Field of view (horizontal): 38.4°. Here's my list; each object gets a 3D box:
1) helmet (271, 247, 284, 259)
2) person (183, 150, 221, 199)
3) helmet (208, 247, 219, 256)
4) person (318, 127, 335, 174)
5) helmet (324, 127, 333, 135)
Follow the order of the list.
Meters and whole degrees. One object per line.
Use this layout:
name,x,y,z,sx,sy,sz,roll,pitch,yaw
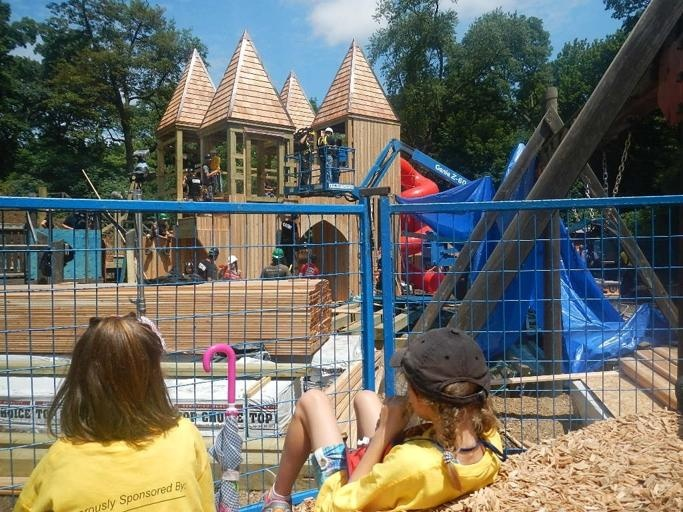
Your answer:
helmet,-1.241,-0.065,19.092,0.240,0.238,0.361,1,8,-21
person,-3.626,-2.066,25.711,0.931,1.339,2.489,-1,-2,-8
helmet,-1.742,-0.070,13.325,0.139,0.086,0.208,9,1,-17
person,-0.280,-2.625,25.392,0.393,1.325,0.516,-7,10,0
helmet,-0.325,-3.262,25.709,0.187,0.209,0.174,3,4,39
